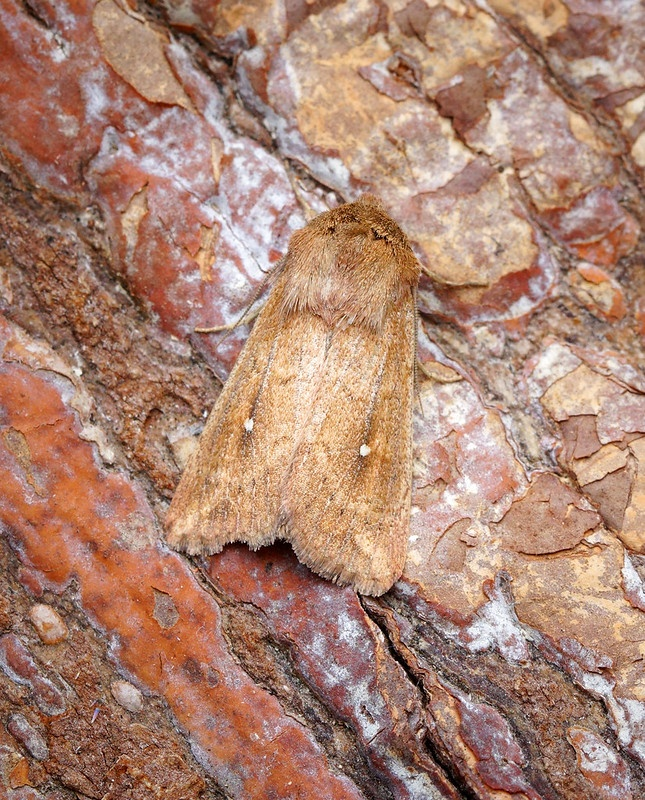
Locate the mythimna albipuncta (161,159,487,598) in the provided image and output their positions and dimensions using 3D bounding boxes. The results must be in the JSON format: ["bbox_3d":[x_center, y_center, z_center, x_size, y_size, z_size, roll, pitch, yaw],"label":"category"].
[{"bbox_3d":[0.025,-0.051,4.546,1.057,1.558,0.328,17,5,6],"label":"mythimna albipuncta"}]
